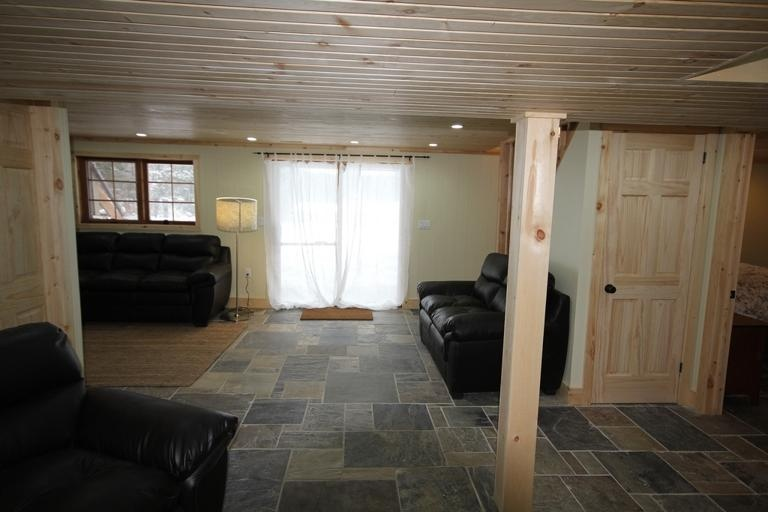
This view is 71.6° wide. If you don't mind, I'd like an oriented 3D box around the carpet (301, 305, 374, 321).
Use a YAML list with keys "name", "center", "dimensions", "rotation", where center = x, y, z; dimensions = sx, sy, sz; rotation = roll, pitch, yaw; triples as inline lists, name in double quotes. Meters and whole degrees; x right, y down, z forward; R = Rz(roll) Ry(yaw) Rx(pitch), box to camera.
- name: "carpet"
  center: [-0.611, 0.751, 7.050]
  dimensions: [0.933, 0.062, 0.617]
  rotation: [-1, 7, -4]

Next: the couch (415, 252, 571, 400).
- name: "couch"
  center: [1.031, 0.612, 5.316]
  dimensions: [1.117, 1.162, 1.464]
  rotation: [-1, 8, -5]
